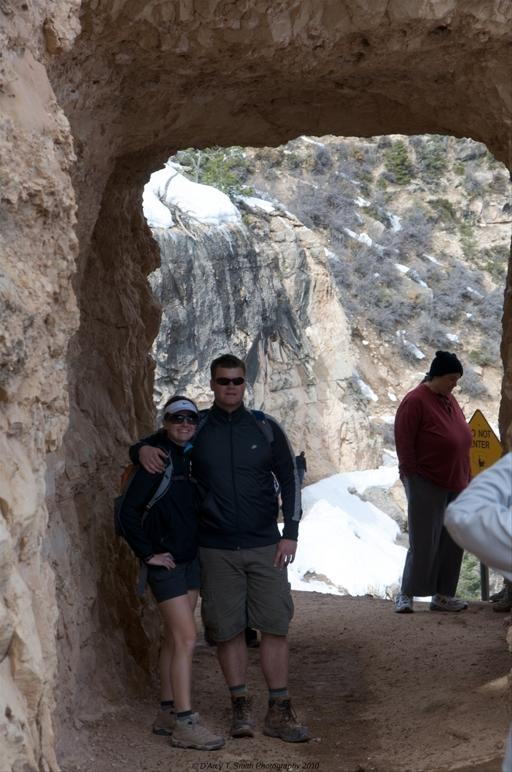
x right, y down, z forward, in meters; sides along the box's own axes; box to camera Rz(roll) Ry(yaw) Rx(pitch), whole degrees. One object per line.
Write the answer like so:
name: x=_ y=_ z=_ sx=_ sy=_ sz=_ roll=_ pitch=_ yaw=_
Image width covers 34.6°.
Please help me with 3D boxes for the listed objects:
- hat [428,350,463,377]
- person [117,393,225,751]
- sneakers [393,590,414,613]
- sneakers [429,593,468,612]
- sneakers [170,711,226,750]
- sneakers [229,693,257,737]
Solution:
hat: x=1.172 y=-0.129 z=5.061 sx=0.144 sy=0.154 sz=0.192 roll=-2 pitch=6 yaw=-36
person: x=-0.326 y=0.746 z=3.308 sx=0.387 sy=1.390 sz=0.272 roll=-10 pitch=-6 yaw=-18
sneakers: x=0.956 y=1.434 z=5.378 sx=0.077 sy=0.086 sz=0.201 roll=-2 pitch=-18 yaw=3
sneakers: x=1.217 y=1.392 z=5.284 sx=0.254 sy=0.114 sz=0.096 roll=-4 pitch=8 yaw=18
sneakers: x=-0.189 y=1.344 z=3.234 sx=0.281 sy=0.174 sz=0.093 roll=2 pitch=2 yaw=-3
sneakers: x=-0.066 y=1.349 z=3.355 sx=0.100 sy=0.122 sz=0.097 roll=-11 pitch=-6 yaw=-3
